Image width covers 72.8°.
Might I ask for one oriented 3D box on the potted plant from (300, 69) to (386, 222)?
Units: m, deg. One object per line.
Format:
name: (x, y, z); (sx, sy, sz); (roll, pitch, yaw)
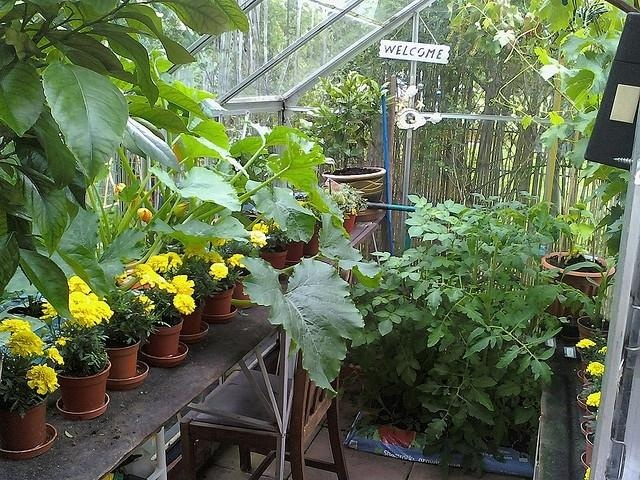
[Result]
potted plant: (0.226, -0.764, 3.427); (0.546, 1.030, 0.709); (2, 14, 28)
